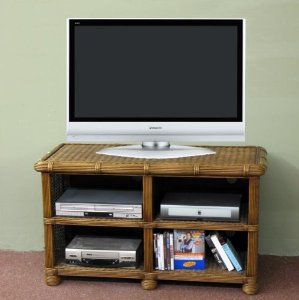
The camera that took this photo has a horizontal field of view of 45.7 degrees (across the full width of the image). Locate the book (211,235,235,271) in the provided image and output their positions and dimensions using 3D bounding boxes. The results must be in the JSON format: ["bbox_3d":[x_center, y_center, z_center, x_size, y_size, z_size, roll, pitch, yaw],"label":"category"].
[{"bbox_3d":[0.337,0.471,1.636,0.033,0.138,0.136,-27,11,2],"label":"book"}]

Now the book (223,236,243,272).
[{"bbox_3d":[0.394,0.490,1.656,0.030,0.133,0.131,-22,7,8],"label":"book"}]

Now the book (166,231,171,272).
[{"bbox_3d":[0.088,0.473,1.649,0.021,0.175,0.044,-3,7,-19],"label":"book"}]

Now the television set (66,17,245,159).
[{"bbox_3d":[0.029,-0.303,1.720,0.872,0.657,0.262,0,3,2],"label":"television set"}]

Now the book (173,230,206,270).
[{"bbox_3d":[0.185,0.455,1.701,0.152,0.201,0.117,-1,6,6],"label":"book"}]

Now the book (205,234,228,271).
[{"bbox_3d":[0.317,0.473,1.646,0.033,0.141,0.138,-28,33,4],"label":"book"}]
